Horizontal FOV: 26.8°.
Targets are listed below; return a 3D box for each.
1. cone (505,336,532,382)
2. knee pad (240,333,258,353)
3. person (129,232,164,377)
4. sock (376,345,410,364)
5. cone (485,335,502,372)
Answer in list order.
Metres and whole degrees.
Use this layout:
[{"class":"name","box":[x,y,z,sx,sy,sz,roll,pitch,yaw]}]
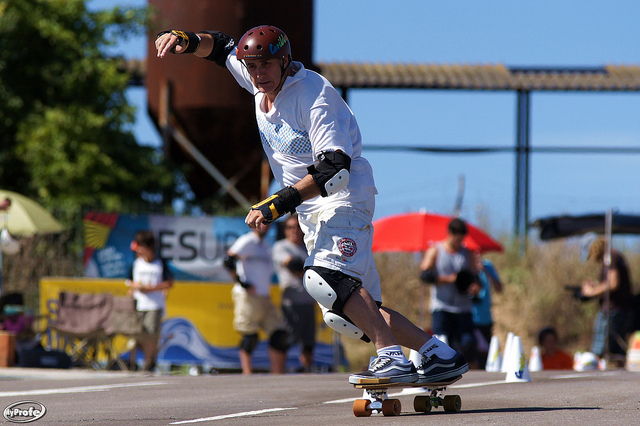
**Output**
[{"class":"cone","box":[2.948,2.179,20.181,0.412,0.676,0.382,2,-8,-2]},{"class":"knee pad","box":[-1.216,2.231,23.285,0.290,0.342,0.168,6,-9,-26]},{"class":"person","box":[-2.907,1.443,22.062,0.587,2.299,0.601,3,-2,29]},{"class":"sock","box":[0.946,1.832,17.607,0.409,0.235,0.090,2,-8,0]},{"class":"cone","box":[2.992,2.435,23.494,0.272,0.652,0.932,0,-9,7]}]
